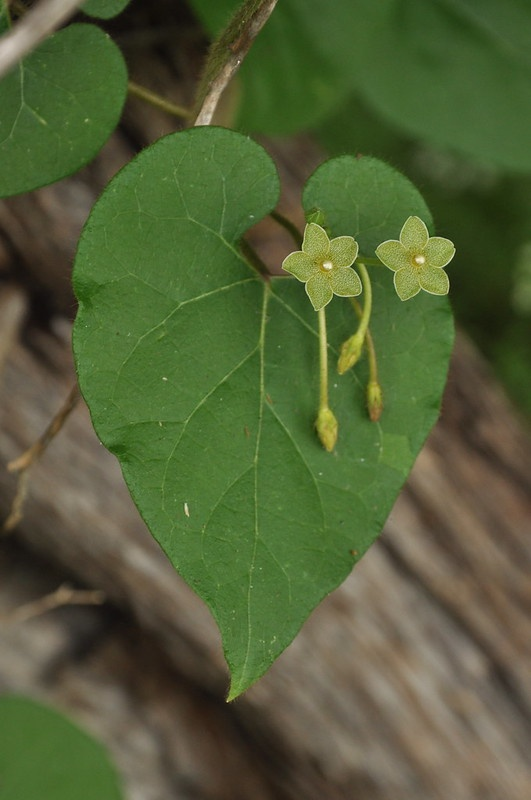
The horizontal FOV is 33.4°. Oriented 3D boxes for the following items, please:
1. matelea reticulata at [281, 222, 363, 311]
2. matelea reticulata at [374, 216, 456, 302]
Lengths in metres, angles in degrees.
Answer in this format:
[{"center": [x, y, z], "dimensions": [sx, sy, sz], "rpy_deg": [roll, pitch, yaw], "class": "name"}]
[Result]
[{"center": [0.106, -0.221, 1.547], "dimensions": [0.133, 0.127, 0.105], "rpy_deg": [26, 60, 13], "class": "matelea reticulata"}, {"center": [0.270, -0.244, 1.567], "dimensions": [0.127, 0.101, 0.112], "rpy_deg": [36, 62, 18], "class": "matelea reticulata"}]
